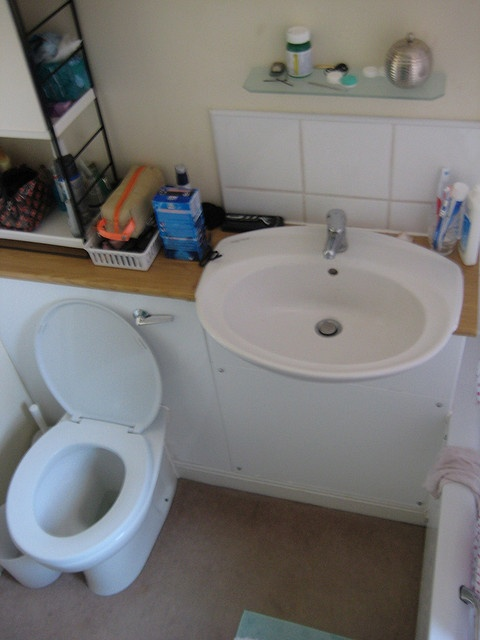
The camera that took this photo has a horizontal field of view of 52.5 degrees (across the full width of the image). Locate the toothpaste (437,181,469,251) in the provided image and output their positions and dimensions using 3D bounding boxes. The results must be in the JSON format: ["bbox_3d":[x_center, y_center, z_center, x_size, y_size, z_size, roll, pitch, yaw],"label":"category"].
[{"bbox_3d":[0.454,-0.228,1.036,0.044,0.168,0.051,-36,61,-15],"label":"toothpaste"}]

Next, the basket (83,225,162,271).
[{"bbox_3d":[-0.292,-0.180,1.202,0.144,0.049,0.116,5,52,8],"label":"basket"}]

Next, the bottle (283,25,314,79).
[{"bbox_3d":[0.115,-0.511,0.939,0.049,0.087,0.060,-1,39,8],"label":"bottle"}]

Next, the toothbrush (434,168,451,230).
[{"bbox_3d":[0.440,-0.251,1.040,0.035,0.162,0.018,6,53,29],"label":"toothbrush"}]
